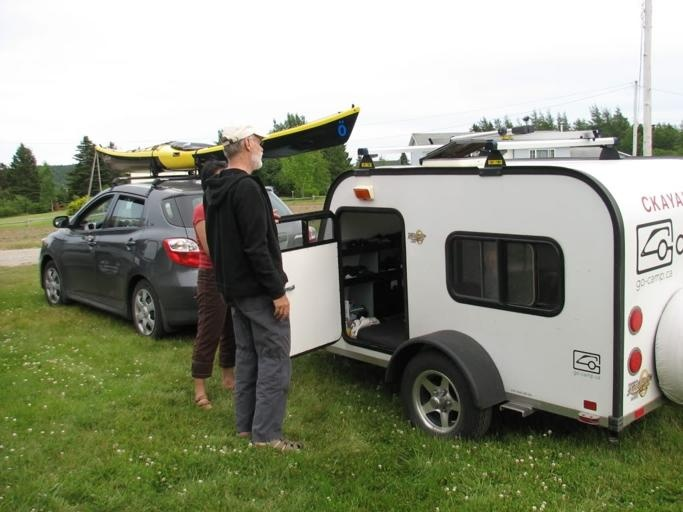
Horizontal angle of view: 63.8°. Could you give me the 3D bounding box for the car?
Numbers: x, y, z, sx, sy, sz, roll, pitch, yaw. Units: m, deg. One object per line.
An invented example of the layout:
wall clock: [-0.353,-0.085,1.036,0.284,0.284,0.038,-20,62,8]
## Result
car: [-2.902,-0.176,8.145,2.087,1.596,3.801,-8,14,-44]

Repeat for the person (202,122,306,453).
person: [-0.685,0.271,4.339,0.758,2.557,0.388,6,11,32]

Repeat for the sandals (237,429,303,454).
sandals: [-0.568,1.476,4.427,0.530,0.214,0.179,0,-2,-1]

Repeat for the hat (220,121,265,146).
hat: [-0.761,-0.935,4.226,0.320,0.149,0.381,-2,10,-12]
